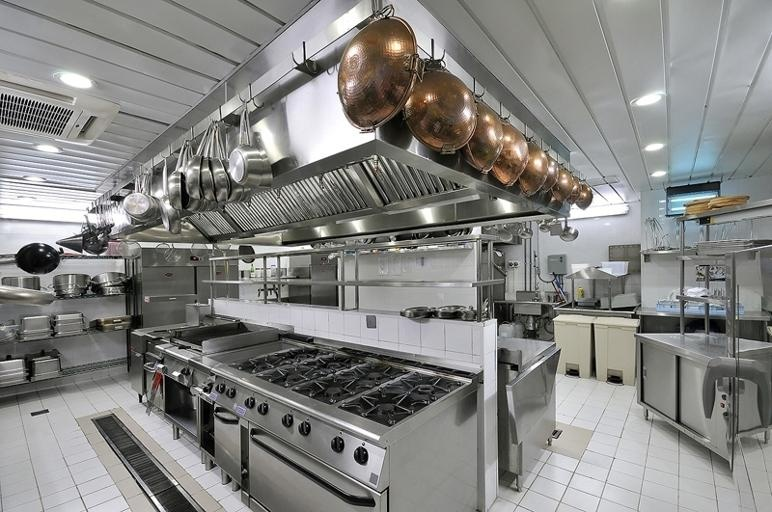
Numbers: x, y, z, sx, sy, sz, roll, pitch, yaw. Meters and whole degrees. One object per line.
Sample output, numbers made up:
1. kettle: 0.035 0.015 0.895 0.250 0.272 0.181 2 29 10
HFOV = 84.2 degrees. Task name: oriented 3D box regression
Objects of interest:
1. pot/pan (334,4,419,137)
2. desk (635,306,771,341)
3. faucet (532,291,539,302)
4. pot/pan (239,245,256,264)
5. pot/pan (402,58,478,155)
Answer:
1. pot/pan: -0.017 -1.022 2.366 0.528 0.569 0.173 1 -4 37
2. desk: 3.343 0.726 4.571 0.436 0.368 0.770 1 -2 -38
3. faucet: 2.643 0.727 7.596 0.148 0.141 0.147 1 -3 2
4. pot/pan: -1.697 -0.024 5.221 0.171 0.246 0.448 -4 9 -18
5. pot/pan: 0.276 -0.836 2.613 0.437 0.526 0.277 -10 -3 -19
